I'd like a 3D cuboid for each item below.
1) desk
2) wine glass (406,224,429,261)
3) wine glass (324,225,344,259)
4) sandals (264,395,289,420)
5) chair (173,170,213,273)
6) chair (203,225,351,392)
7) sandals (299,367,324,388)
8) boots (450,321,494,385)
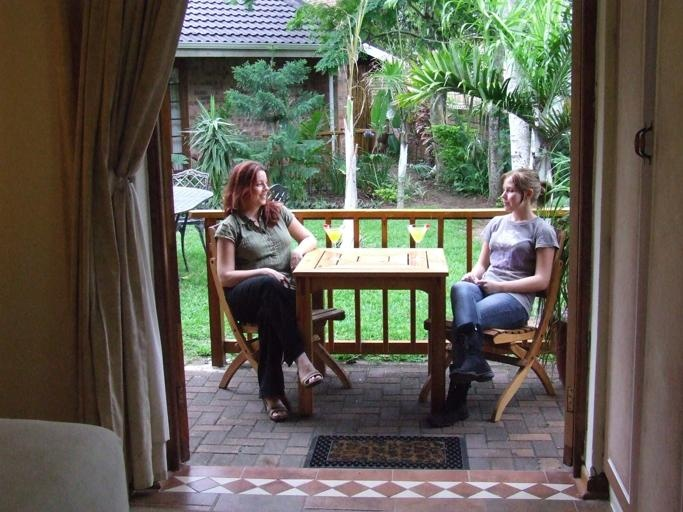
[{"bbox_3d":[0.214,0.462,3.982,0.944,0.907,0.635,-1,13,6],"label":"desk"},{"bbox_3d":[0.518,-0.109,4.280,0.181,0.261,0.207,-1,6,0],"label":"wine glass"},{"bbox_3d":[-0.055,-0.107,4.385,0.180,0.261,0.208,-1,10,0],"label":"wine glass"},{"bbox_3d":[-0.417,0.980,3.846,0.156,0.111,0.194,-4,13,-8],"label":"sandals"},{"bbox_3d":[-2.228,-0.654,8.963,0.602,1.162,3.764,-5,13,-12],"label":"chair"},{"bbox_3d":[-0.596,0.444,4.350,0.885,1.107,0.873,0,-5,40],"label":"chair"},{"bbox_3d":[-0.191,0.760,3.703,0.071,0.085,0.194,-14,-14,-31],"label":"sandals"},{"bbox_3d":[0.782,0.587,3.587,0.244,0.327,0.234,1,13,11],"label":"boots"}]
